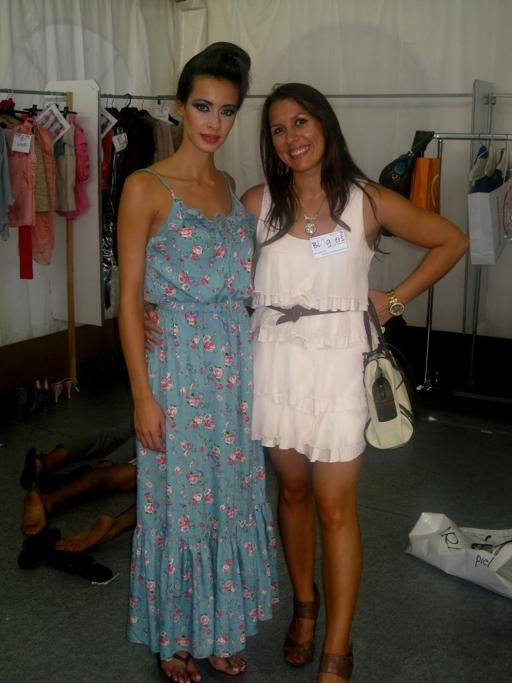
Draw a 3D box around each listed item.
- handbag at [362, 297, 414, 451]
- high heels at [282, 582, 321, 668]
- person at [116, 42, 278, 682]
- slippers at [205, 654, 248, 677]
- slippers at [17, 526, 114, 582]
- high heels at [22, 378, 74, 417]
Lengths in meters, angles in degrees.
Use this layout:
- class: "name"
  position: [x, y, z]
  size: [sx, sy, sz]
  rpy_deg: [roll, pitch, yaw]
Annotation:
- class: "handbag"
  position: [0.338, 0.093, 1.454]
  size: [0.129, 0.370, 0.222]
  rpy_deg: [1, 9, 12]
- class: "high heels"
  position: [0.144, 0.845, 1.703]
  size: [0.072, 0.095, 0.238]
  rpy_deg: [-1, 22, 12]
- class: "person"
  position: [-0.135, 0.063, 1.482]
  size: [0.436, 1.567, 0.235]
  rpy_deg: [-4, 9, -21]
- class: "slippers"
  position: [-0.072, 0.929, 1.630]
  size: [0.099, 0.028, 0.057]
  rpy_deg: [-3, 3, 45]
- class: "slippers"
  position: [-0.745, 0.850, 2.205]
  size: [0.305, 0.073, 0.170]
  rpy_deg: [15, 22, 25]
- class: "high heels"
  position: [-1.507, 0.393, 4.144]
  size: [0.126, 0.142, 0.393]
  rpy_deg: [11, 15, 21]
